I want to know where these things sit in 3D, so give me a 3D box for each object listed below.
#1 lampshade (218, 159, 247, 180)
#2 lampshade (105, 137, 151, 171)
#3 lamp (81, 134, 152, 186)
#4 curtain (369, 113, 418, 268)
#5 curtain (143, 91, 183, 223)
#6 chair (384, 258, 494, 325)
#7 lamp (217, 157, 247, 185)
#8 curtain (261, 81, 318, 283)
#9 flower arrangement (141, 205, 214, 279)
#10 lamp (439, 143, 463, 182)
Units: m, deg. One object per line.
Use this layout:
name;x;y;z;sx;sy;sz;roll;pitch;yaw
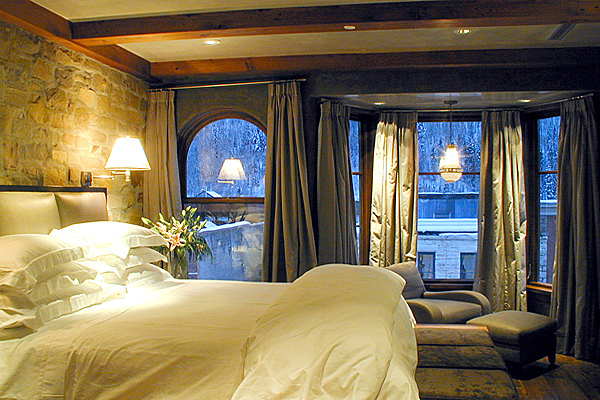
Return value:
lampshade;-0.856;-0.381;5.534;0.301;0.187;0.269;0;-4;1
lampshade;-1.796;-0.462;4.634;0.426;0.336;0.408;4;1;-1
lamp;-1.894;-0.378;4.727;0.625;0.548;0.628;4;1;0
curtain;1.253;-0.162;5.666;0.683;2.252;0.355;3;3;20
curtain;-1.668;-0.503;5.358;0.385;1.578;0.434;4;3;-2
chair;1.458;1.038;4.726;0.809;0.690;0.823;-10;-11;42
lamp;-0.852;-0.375;5.434;0.369;0.279;0.337;1;-5;-4
curtain;-0.176;-0.205;5.040;0.682;2.275;0.313;1;7;11
flower arrangement;-1.325;0.493;4.941;1.062;0.969;0.696;-2;2;15
lamp;1.839;-0.449;5.249;0.212;0.452;0.282;5;15;31
